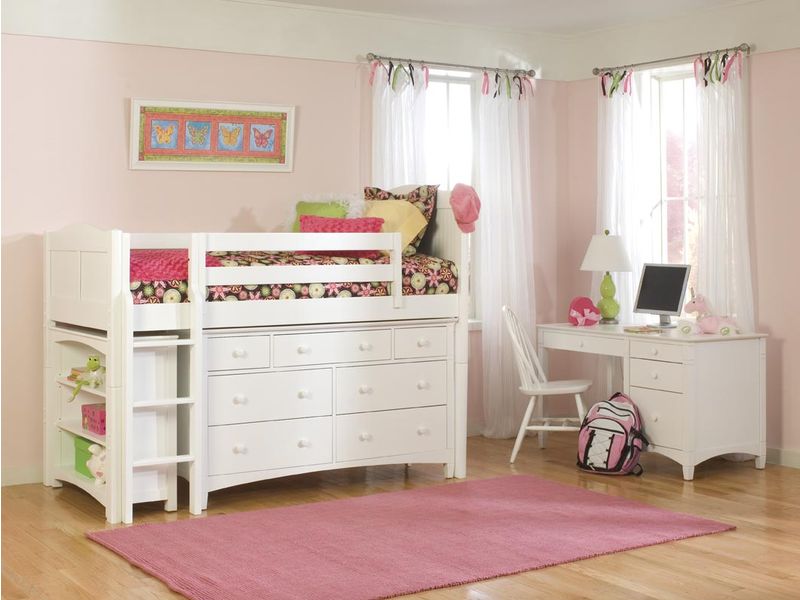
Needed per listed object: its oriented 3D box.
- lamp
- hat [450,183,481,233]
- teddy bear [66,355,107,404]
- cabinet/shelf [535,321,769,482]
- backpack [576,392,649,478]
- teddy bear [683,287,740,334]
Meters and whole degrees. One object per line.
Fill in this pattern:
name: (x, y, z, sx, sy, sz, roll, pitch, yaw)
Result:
lamp: (1.512, -0.185, 4.971, 0.336, 0.686, 0.443, 0, 0, 17)
hat: (0.400, -0.564, 4.166, 0.189, 0.301, 0.188, 0, 0, -14)
teddy bear: (-1.698, 0.420, 3.790, 0.204, 0.131, 0.338, 1, 12, 2)
cabinet/shelf: (1.749, 0.545, 4.533, 0.818, 0.920, 1.403, -1, 2, -32)
backpack: (1.268, 0.828, 4.157, 0.371, 0.486, 0.148, -3, -14, 37)
teddy bear: (1.994, 0.107, 4.440, 0.364, 0.318, 0.191, 1, -6, 8)
